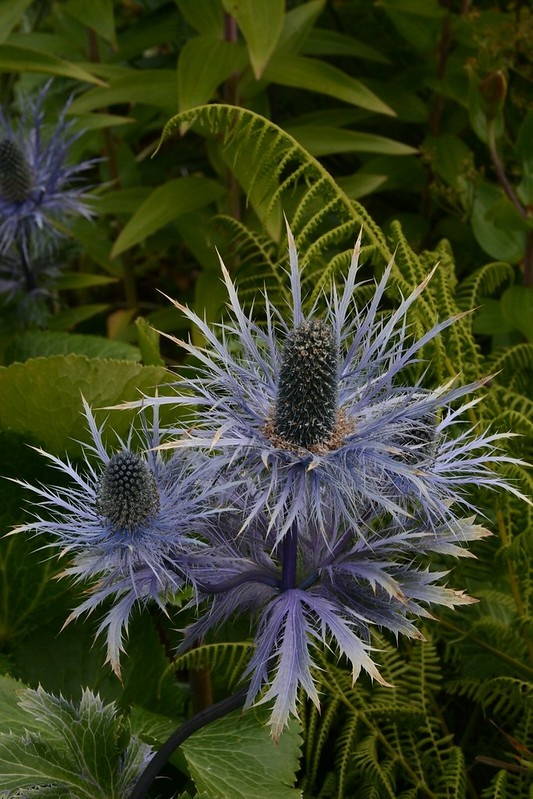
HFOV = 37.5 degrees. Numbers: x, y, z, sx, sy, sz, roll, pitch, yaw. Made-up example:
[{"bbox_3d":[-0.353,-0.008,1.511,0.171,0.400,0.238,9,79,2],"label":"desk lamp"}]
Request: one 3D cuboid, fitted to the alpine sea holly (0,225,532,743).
[{"bbox_3d":[-0.001,0.074,0.908,0.576,0.346,0.514,-1,53,-1],"label":"alpine sea holly"}]
